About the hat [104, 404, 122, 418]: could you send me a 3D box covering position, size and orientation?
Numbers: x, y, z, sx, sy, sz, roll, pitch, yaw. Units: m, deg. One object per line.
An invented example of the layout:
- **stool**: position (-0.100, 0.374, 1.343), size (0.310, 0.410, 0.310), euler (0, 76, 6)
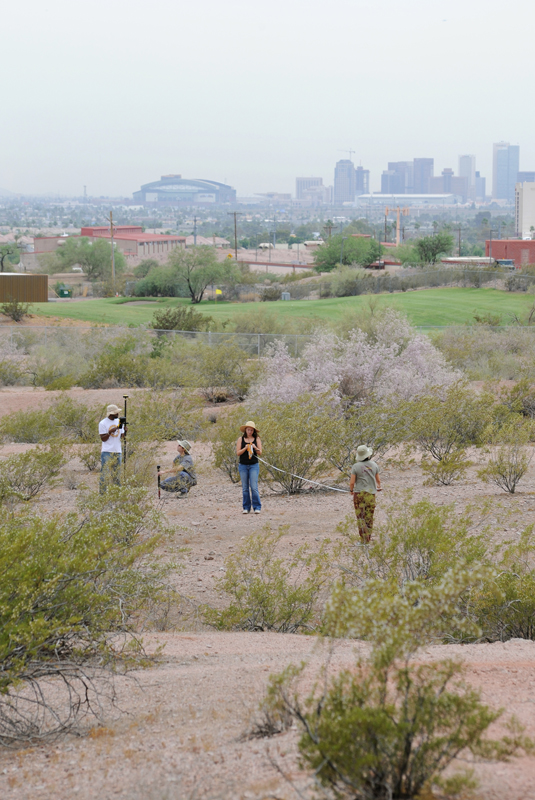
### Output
- **hat**: position (-1.850, 0.148, 16.947), size (0.139, 0.102, 0.146), euler (-28, 10, -26)

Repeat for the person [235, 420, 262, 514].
- **person**: position (-0.195, 0.699, 14.998), size (0.255, 0.971, 0.468), euler (0, 7, 1)

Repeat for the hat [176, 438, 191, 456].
- **hat**: position (-0.941, 0.589, 16.489), size (0.072, 0.220, 0.184), euler (-14, 25, -20)

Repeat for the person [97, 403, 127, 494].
- **person**: position (-1.648, 0.500, 15.023), size (0.264, 0.817, 0.939), euler (-1, 7, -7)
